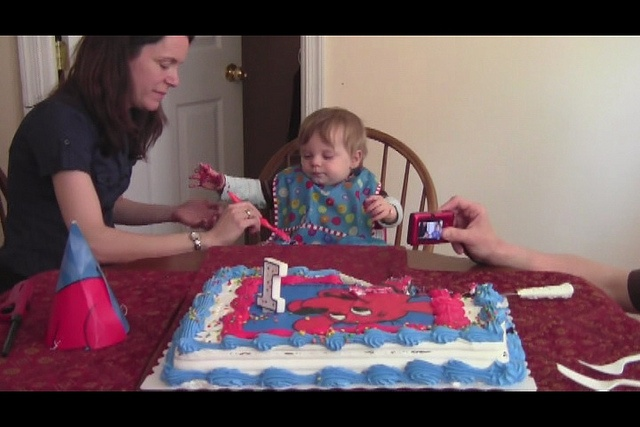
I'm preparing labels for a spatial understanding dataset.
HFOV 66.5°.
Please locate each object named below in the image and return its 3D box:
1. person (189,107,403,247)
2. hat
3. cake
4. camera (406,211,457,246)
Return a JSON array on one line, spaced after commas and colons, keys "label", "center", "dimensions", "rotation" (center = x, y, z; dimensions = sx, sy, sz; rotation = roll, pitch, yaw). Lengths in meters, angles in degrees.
[{"label": "person", "center": [-0.049, -0.197, 1.957], "dimensions": [0.854, 0.702, 0.535], "rotation": [3, 1, 12]}, {"label": "hat", "center": [-0.545, 0.165, 1.117], "dimensions": [0.178, 0.265, 0.154], "rotation": [-8, 24, -24]}, {"label": "cake", "center": [0.059, 0.278, 1.121], "dimensions": [0.581, 0.088, 0.323], "rotation": [3, 18, 3]}, {"label": "camera", "center": [0.316, 0.041, 1.418], "dimensions": [0.184, 0.108, 0.047], "rotation": [-13, 27, -35]}]
